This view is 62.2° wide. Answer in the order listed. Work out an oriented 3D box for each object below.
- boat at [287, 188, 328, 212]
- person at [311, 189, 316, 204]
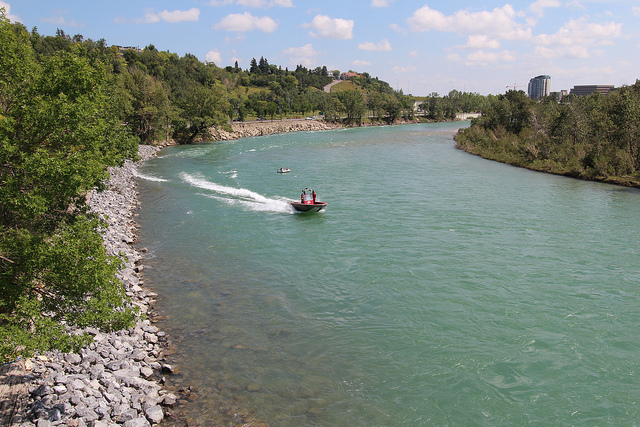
[{"bbox_3d":[-1.485,-1.673,66.658,3.104,2.523,5.575,-1,8,-1],"label":"boat"},{"bbox_3d":[-0.661,-2.160,64.289,0.642,1.311,0.335,3,13,3],"label":"person"}]
